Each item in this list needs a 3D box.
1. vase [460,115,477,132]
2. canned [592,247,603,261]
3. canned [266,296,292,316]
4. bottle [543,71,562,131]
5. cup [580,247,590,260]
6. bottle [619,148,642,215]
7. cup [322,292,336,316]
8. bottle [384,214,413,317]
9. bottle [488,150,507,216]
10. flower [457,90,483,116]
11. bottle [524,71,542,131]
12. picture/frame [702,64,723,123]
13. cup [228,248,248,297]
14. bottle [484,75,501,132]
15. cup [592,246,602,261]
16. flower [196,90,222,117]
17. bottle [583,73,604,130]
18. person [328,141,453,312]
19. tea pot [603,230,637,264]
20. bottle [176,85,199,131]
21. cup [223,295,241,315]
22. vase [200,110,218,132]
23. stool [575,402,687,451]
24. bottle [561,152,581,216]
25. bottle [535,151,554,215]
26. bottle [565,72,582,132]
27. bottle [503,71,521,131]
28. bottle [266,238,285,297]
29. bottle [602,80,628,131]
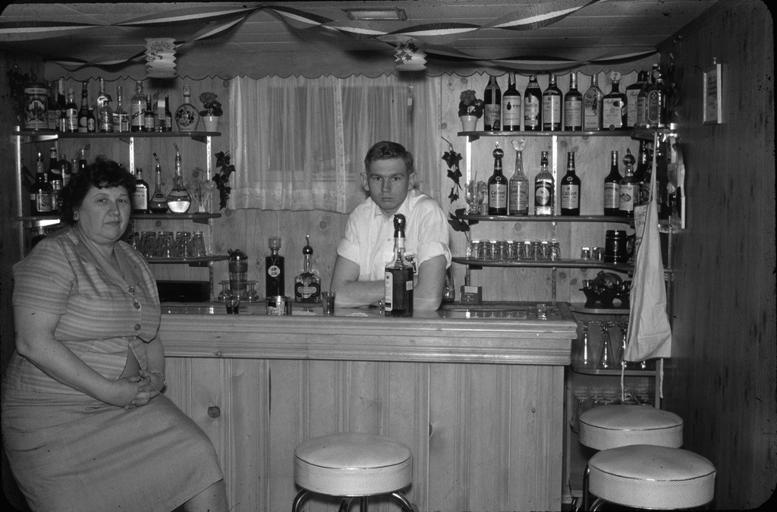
[{"bbox_3d":[0.566,-0.944,5.725,0.120,0.093,0.115,0,3,-3],"label":"vase"},{"bbox_3d":[1.492,-0.012,5.800,0.081,0.140,0.082,1,4,24],"label":"canned"},{"bbox_3d":[-0.556,0.252,4.066,0.098,0.097,0.098,1,-3,-2],"label":"canned"},{"bbox_3d":[1.151,-1.065,5.621,0.155,0.385,0.142,1,3,0],"label":"bottle"},{"bbox_3d":[1.416,-0.018,5.858,0.078,0.113,0.079,0,-1,0],"label":"cup"},{"bbox_3d":[1.660,-0.509,5.579,0.136,0.454,0.434,1,3,16],"label":"bottle"},{"bbox_3d":[-0.312,0.255,4.110,0.091,0.140,0.092,1,-1,0],"label":"cup"},{"bbox_3d":[0.055,0.050,3.975,0.166,0.581,0.150,-3,34,-5],"label":"bottle"},{"bbox_3d":[0.781,-0.544,5.802,0.146,0.503,0.291,1,3,7],"label":"bottle"},{"bbox_3d":[0.590,-1.100,5.820,0.180,0.200,0.226,1,3,5],"label":"flower"},{"bbox_3d":[1.019,-1.087,5.728,0.129,0.418,0.262,1,3,9],"label":"bottle"},{"bbox_3d":[1.776,-0.904,4.478,0.032,0.309,0.299,6,19,41],"label":"picture/frame"},{"bbox_3d":[-1.103,0.115,5.904,0.138,0.311,0.401,0,3,-10],"label":"cup"},{"bbox_3d":[0.737,-1.096,5.748,0.121,0.430,0.265,1,3,6],"label":"bottle"},{"bbox_3d":[1.490,-0.014,5.800,0.079,0.140,0.081,0,4,0],"label":"cup"},{"bbox_3d":[-1.308,-1.150,5.929,0.175,0.184,0.183,3,42,-6],"label":"flower"},{"bbox_3d":[1.441,-1.093,5.710,0.131,0.432,0.258,1,3,15],"label":"bottle"},{"bbox_3d":[0.009,-0.184,4.497,0.666,0.893,0.389,2,3,28],"label":"person"},{"bbox_3d":[1.628,-0.059,5.687,0.246,0.239,0.156,0,-4,4],"label":"tea pot"},{"bbox_3d":[-1.501,-1.104,6.000,0.177,0.330,0.163,1,3,0],"label":"bottle"},{"bbox_3d":[-0.856,0.268,4.398,0.071,0.099,0.072,0,2,0],"label":"cup"},{"bbox_3d":[-1.296,-0.990,5.920,0.148,0.119,0.138,-1,11,-4],"label":"vase"},{"bbox_3d":[1.331,0.885,4.232,0.380,0.148,0.384,7,2,38],"label":"stool"},{"bbox_3d":[1.290,-0.515,5.753,0.132,0.449,0.215,1,3,12],"label":"bottle"},{"bbox_3d":[1.108,-0.518,5.746,0.129,0.456,0.229,1,3,12],"label":"bottle"},{"bbox_3d":[1.280,-1.067,5.609,0.119,0.387,0.169,1,3,11],"label":"bottle"},{"bbox_3d":[0.866,-1.084,5.689,0.137,0.414,0.168,1,3,7],"label":"bottle"},{"bbox_3d":[-0.820,0.077,5.844,0.141,0.440,0.524,0,3,-8],"label":"bottle"},{"bbox_3d":[1.601,-1.075,5.662,0.203,0.381,0.129,-2,4,-37],"label":"bottle"}]
